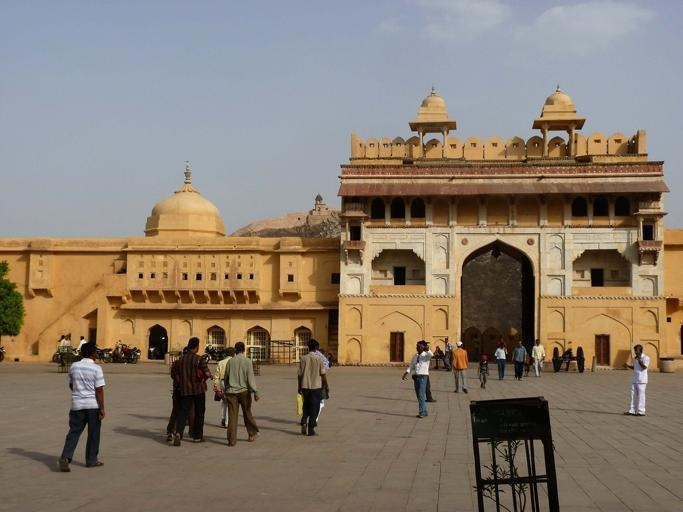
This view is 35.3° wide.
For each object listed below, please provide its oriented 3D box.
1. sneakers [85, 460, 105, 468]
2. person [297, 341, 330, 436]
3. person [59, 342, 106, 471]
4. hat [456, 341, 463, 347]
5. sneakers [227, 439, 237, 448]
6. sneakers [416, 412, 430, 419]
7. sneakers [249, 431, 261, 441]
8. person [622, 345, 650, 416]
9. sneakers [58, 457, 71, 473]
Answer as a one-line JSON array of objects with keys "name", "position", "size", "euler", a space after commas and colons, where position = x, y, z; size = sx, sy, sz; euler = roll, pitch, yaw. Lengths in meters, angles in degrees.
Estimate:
[{"name": "sneakers", "position": [-4.946, 4.170, 21.592], "size": [0.344, 0.137, 0.122], "euler": [-3, 5, -13]}, {"name": "person", "position": [-0.650, 2.971, 24.342], "size": [0.629, 2.126, 0.781], "euler": [2, -6, -2]}, {"name": "person", "position": [-5.213, 3.042, 21.826], "size": [0.850, 2.555, 0.854], "euler": [4, -6, -14]}, {"name": "hat", "position": [3.383, 2.539, 30.856], "size": [0.221, 0.086, 0.305], "euler": [0, 1, 14]}, {"name": "sneakers", "position": [-2.349, 4.009, 23.086], "size": [0.085, 0.150, 0.221], "euler": [2, 7, 15]}, {"name": "sneakers", "position": [1.963, 3.866, 26.133], "size": [0.280, 0.138, 0.414], "euler": [2, -5, 2]}, {"name": "sneakers", "position": [-1.917, 3.948, 23.544], "size": [0.155, 0.173, 0.445], "euler": [-1, -8, 2]}, {"name": "person", "position": [7.299, 3.062, 26.543], "size": [0.512, 1.709, 0.886], "euler": [1, -6, 15]}, {"name": "sneakers", "position": [-5.486, 4.136, 21.332], "size": [0.236, 0.292, 0.222], "euler": [3, -6, -8]}]
